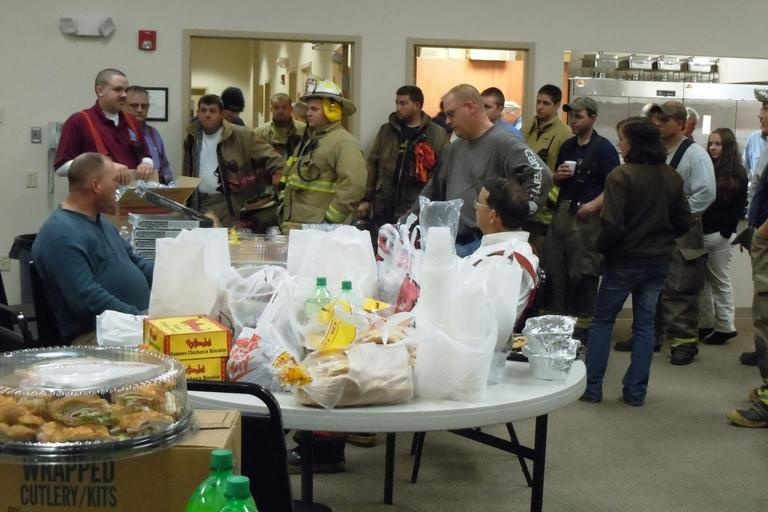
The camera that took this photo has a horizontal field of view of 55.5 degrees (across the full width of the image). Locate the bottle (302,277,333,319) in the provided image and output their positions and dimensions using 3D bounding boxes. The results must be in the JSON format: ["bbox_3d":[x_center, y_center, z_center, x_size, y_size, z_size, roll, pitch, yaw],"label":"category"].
[{"bbox_3d":[-0.270,0.174,3.037,0.110,0.171,0.131,-9,14,-42],"label":"bottle"}]

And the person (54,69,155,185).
[{"bbox_3d":[-2.147,-0.899,5.836,0.590,1.166,0.820,1,2,44],"label":"person"}]

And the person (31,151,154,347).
[{"bbox_3d":[-1.608,-0.043,4.074,0.600,1.042,0.562,-6,11,-29],"label":"person"}]

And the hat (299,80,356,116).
[{"bbox_3d":[-0.421,-1.272,5.696,0.439,0.207,0.436,9,-7,-17],"label":"hat"}]

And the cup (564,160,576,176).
[{"bbox_3d":[1.624,-0.768,6.245,0.117,0.129,0.124,0,15,0],"label":"cup"}]

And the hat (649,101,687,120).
[{"bbox_3d":[2.333,-1.182,5.984,0.235,0.117,0.171,10,8,-18],"label":"hat"}]

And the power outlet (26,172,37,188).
[{"bbox_3d":[-3.211,-0.712,6.712,0.124,0.191,0.019,0,6,-14],"label":"power outlet"}]

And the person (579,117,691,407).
[{"bbox_3d":[1.805,0.053,5.193,0.692,2.059,0.291,-3,10,-17],"label":"person"}]

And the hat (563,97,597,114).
[{"bbox_3d":[1.710,-1.301,6.335,0.242,0.128,0.173,3,5,-14],"label":"hat"}]

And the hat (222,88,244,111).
[{"bbox_3d":[-1.431,-1.532,7.128,0.187,0.266,0.252,-2,5,-12],"label":"hat"}]

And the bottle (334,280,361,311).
[{"bbox_3d":[-0.136,0.154,3.038,0.100,0.110,0.104,8,12,34],"label":"bottle"}]
